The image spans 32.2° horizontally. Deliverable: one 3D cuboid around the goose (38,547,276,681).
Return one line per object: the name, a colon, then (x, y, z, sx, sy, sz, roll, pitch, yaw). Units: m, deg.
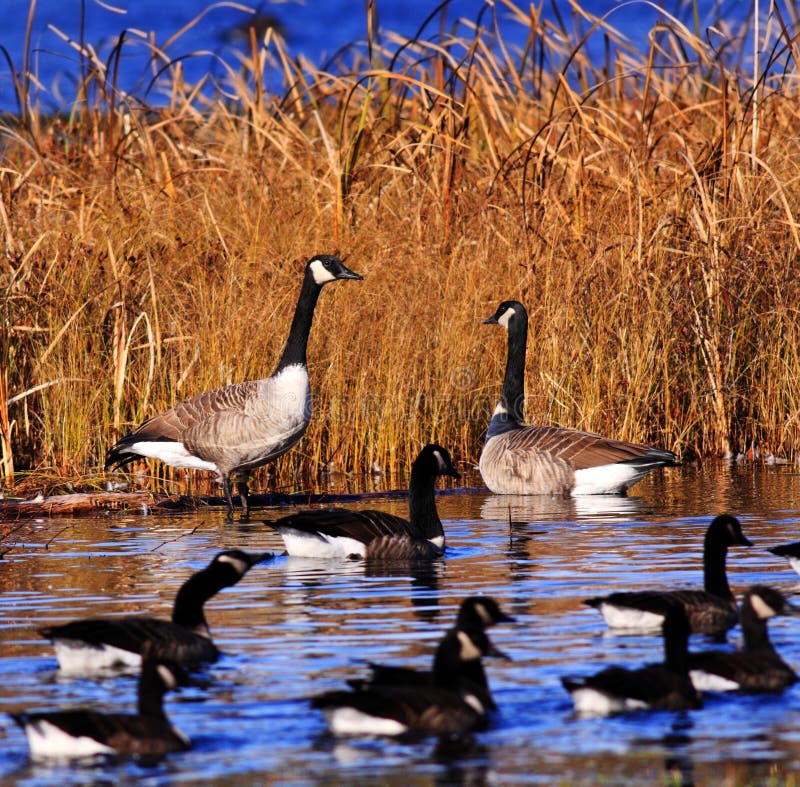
goose: (-1.351, 1.178, 7.368, 0.701, 0.616, 1.356, -1, -3, 19)

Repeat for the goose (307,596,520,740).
goose: (0.025, 1.260, 6.573, 1.048, 0.804, 0.405, -6, 10, -32)

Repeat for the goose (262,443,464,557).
goose: (-0.267, 0.934, 10.641, 1.512, 1.151, 0.583, 2, -23, -15)
